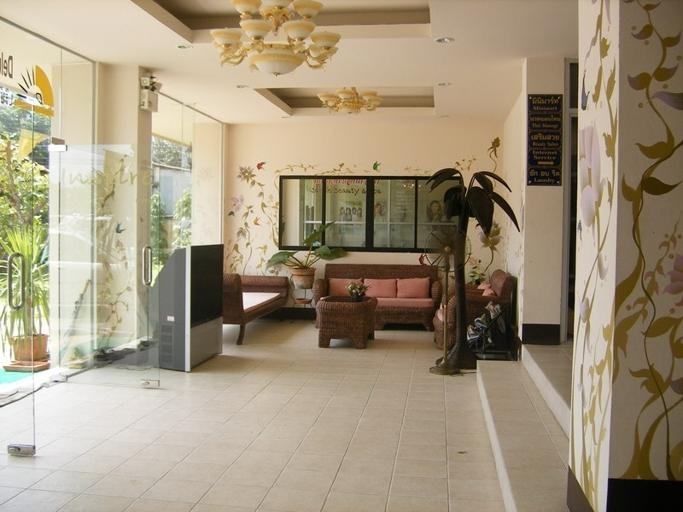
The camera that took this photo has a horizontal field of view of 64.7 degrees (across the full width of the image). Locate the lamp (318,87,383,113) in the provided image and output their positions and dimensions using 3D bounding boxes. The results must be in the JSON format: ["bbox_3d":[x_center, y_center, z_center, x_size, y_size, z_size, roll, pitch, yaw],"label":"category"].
[{"bbox_3d":[0.105,-2.216,7.498,0.812,0.383,0.556,0,5,-6],"label":"lamp"}]

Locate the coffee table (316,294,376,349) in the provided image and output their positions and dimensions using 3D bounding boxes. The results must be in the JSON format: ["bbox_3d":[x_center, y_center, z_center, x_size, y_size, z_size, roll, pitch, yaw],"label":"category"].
[{"bbox_3d":[0.075,0.918,7.633,0.797,0.676,0.586,1,5,2],"label":"coffee table"}]

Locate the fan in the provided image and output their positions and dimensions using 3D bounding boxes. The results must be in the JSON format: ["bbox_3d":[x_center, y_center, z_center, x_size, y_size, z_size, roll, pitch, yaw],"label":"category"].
[{"bbox_3d":[1.196,0.523,6.172,0.561,1.775,0.480,1,9,22],"label":"fan"}]

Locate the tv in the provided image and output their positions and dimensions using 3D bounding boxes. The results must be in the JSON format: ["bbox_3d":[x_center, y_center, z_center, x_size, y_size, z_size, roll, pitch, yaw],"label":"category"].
[{"bbox_3d":[-1.760,0.580,6.091,0.540,1.380,1.505,1,1,12],"label":"tv"}]

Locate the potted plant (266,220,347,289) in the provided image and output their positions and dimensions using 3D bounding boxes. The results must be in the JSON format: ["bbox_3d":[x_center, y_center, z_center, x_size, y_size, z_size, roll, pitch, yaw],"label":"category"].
[{"bbox_3d":[-0.616,0.048,9.462,1.233,0.910,1.325,-5,3,-15],"label":"potted plant"}]
